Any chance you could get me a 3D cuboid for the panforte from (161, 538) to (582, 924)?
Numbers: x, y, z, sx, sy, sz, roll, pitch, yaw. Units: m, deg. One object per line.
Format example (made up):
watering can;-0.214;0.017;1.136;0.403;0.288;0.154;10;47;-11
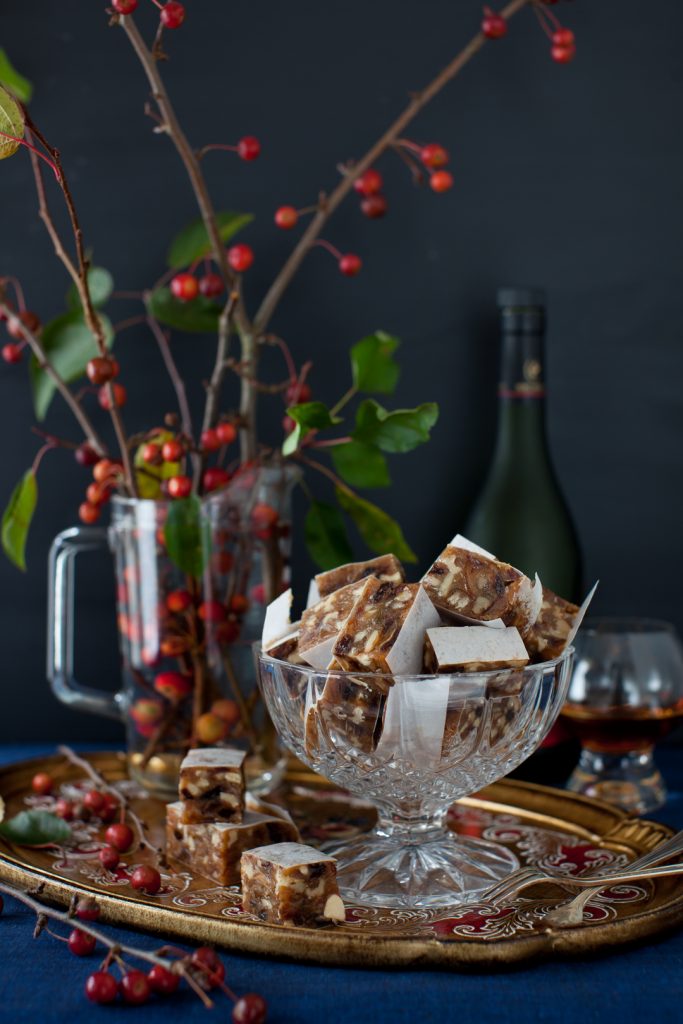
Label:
panforte;0.042;0.118;0.744;0.296;0.238;0.238;-2;9;-19
